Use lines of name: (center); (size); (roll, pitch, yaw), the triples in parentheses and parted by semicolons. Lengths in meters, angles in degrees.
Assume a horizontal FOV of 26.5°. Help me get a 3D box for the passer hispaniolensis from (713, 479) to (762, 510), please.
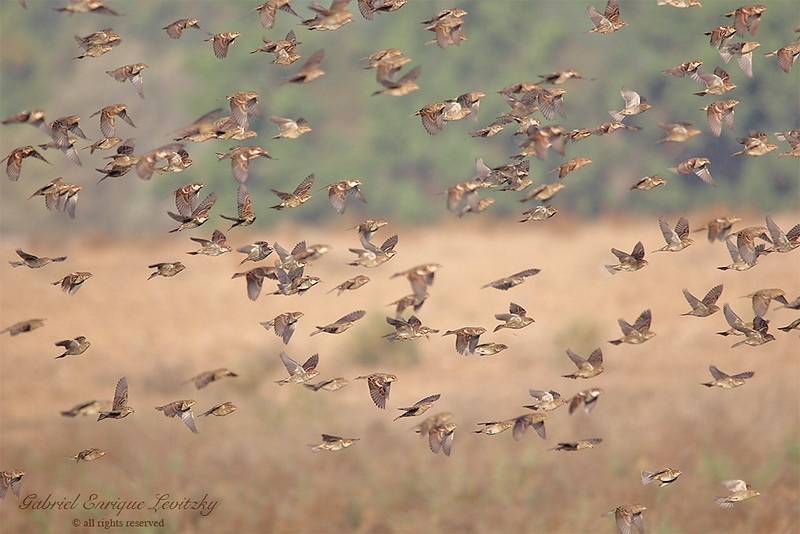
passer hispaniolensis: (7.753, 5.185, 38.554); (1.086, 0.440, 1.041); (3, 40, 17)
